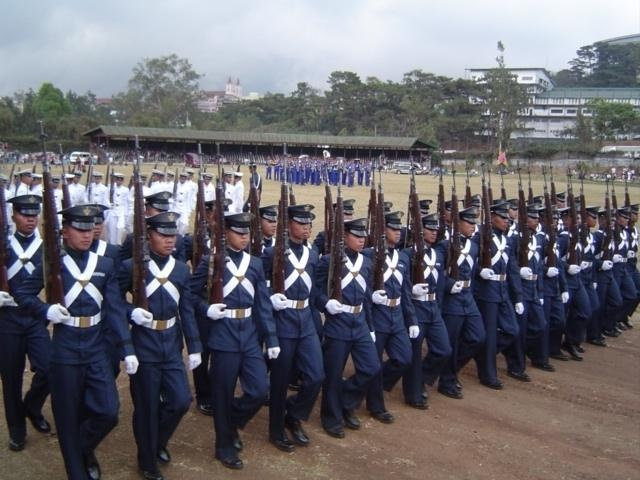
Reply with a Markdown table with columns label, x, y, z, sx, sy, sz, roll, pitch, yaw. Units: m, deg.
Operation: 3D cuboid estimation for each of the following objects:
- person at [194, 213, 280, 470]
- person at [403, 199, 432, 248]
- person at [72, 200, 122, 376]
| label | x | y | z | sx | sy | sz | roll | pitch | yaw |
| --- | --- | --- | --- | --- | --- | --- | --- | --- | --- |
| person | -0.914 | 1.095 | 8.663 | 0.901 | 2.687 | 0.965 | -8 | 17 | -39 |
| person | 1.416 | -0.301 | 11.070 | 0.226 | 1.256 | 0.335 | 3 | 0 | -17 |
| person | -2.459 | 0.594 | 8.205 | 0.425 | 2.652 | 0.173 | 2 | 3 | 5 |
